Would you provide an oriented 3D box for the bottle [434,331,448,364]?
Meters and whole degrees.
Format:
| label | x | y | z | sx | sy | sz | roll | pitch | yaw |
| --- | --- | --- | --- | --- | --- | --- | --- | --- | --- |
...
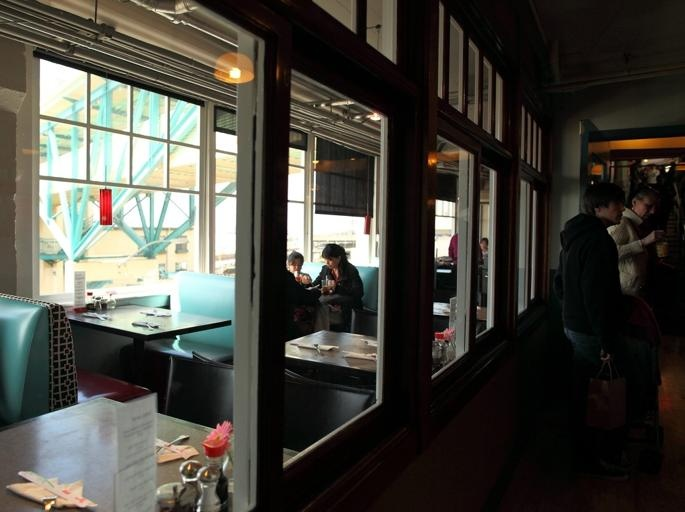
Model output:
| label | x | y | z | sx | sy | sz | roll | pitch | yaw |
| --- | --- | --- | --- | --- | --- | --- | --- | --- | --- |
| bottle | 0.504 | 0.459 | 2.674 | 0.088 | 0.140 | 0.100 | -4 | 7 | 23 |

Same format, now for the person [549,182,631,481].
| label | x | y | z | sx | sy | sz | roll | pitch | yaw |
| --- | --- | --- | --- | --- | --- | --- | --- | --- | --- |
| person | 1.738 | 0.475 | 3.655 | 0.532 | 1.926 | 0.527 | 5 | 8 | 9 |

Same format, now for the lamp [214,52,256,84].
| label | x | y | z | sx | sy | sz | roll | pitch | yaw |
| --- | --- | --- | --- | --- | --- | --- | --- | --- | --- |
| lamp | -0.343 | -0.582 | 1.668 | 0.123 | 0.035 | 0.131 | -1 | -4 | 13 |

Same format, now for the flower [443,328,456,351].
| label | x | y | z | sx | sy | sz | roll | pitch | yaw |
| --- | --- | --- | --- | --- | --- | --- | --- | --- | --- |
| flower | 0.556 | 0.435 | 2.737 | 0.037 | 0.113 | 0.076 | 1 | -6 | 32 |

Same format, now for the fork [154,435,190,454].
| label | x | y | z | sx | sy | sz | roll | pitch | yaw |
| --- | --- | --- | --- | --- | --- | --- | --- | --- | --- |
| fork | -0.602 | 0.645 | 1.867 | 0.067 | 0.038 | 0.113 | 6 | 0 | 34 |

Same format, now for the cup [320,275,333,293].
| label | x | y | z | sx | sy | sz | roll | pitch | yaw |
| --- | --- | --- | --- | --- | --- | --- | --- | --- | --- |
| cup | -0.107 | 0.172 | 3.147 | 0.074 | 0.131 | 0.076 | 0 | 7 | 0 |
